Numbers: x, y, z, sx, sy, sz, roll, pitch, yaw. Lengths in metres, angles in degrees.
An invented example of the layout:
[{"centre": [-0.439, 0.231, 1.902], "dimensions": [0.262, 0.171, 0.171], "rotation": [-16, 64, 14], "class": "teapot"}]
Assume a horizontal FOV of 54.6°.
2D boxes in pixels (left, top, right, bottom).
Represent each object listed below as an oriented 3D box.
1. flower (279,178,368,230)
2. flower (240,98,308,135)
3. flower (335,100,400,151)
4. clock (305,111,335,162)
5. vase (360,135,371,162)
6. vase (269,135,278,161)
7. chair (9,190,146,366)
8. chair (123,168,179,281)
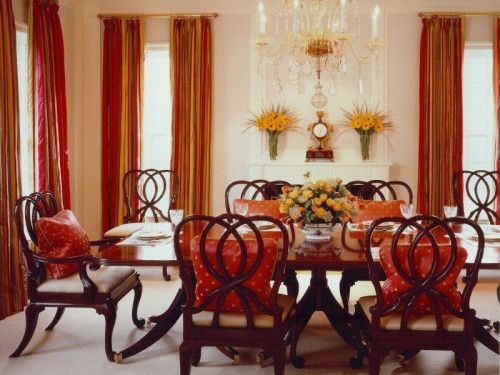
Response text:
[{"centre": [0.524, 0.211, 3.957], "dimensions": [0.493, 0.343, 0.602], "rotation": [-10, -24, 27], "class": "flower"}, {"centre": [0.311, -0.862, 6.009], "dimensions": [0.584, 0.473, 0.658], "rotation": [-1, -4, 37], "class": "flower"}, {"centre": [1.420, -0.682, 5.884], "dimensions": [0.386, 0.523, 0.438], "rotation": [0, 8, -20], "class": "flower"}, {"centre": [0.851, -0.608, 5.899], "dimensions": [0.337, 0.671, 0.076], "rotation": [2, 32, 11], "class": "clock"}, {"centre": [1.390, -0.479, 5.873], "dimensions": [0.109, 0.325, 0.067], "rotation": [1, 11, 14], "class": "vase"}, {"centre": [0.301, -0.505, 5.951], "dimensions": [0.135, 0.330, 0.120], "rotation": [-4, 11, -10], "class": "vase"}, {"centre": [-1.427, 0.679, 3.966], "dimensions": [0.936, 1.276, 0.718], "rotation": [1, 11, 14], "class": "chair"}, {"centre": [-1.138, 0.509, 5.349], "dimensions": [0.624, 1.298, 0.718], "rotation": [3, 15, -2], "class": "chair"}]
